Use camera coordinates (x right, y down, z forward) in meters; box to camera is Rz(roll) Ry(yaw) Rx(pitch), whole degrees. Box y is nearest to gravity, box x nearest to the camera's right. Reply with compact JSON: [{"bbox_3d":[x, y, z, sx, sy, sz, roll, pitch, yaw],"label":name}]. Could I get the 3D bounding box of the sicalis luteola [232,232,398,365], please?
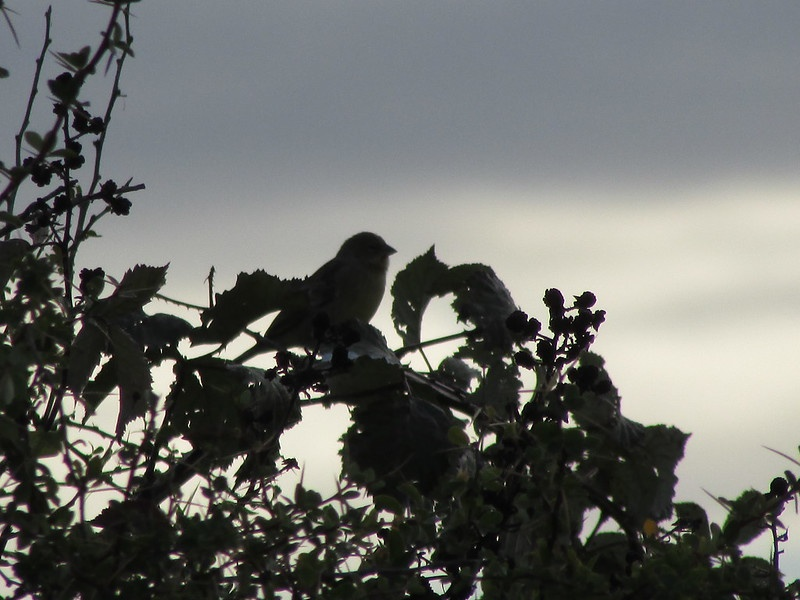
[{"bbox_3d":[-0.175,0.014,2.885,0.396,0.199,0.121,-13,-21,37],"label":"sicalis luteola"}]
